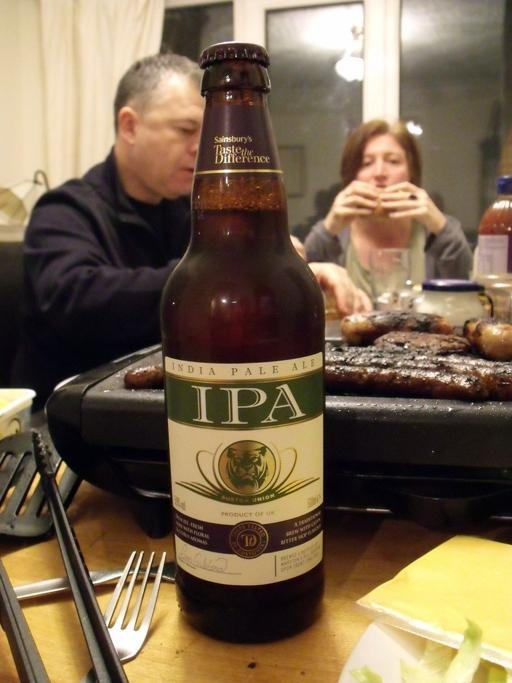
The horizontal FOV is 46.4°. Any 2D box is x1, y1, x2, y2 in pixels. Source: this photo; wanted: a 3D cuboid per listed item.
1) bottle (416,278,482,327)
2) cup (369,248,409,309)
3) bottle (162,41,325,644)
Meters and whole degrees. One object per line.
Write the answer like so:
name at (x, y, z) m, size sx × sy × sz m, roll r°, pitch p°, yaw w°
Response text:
bottle at (0.266, -0.056, 0.806) m, size 0.077 × 0.071 × 0.072 m, roll -3°, pitch 6°, yaw -21°
cup at (0.286, -0.135, 1.287) m, size 0.083 × 0.125 × 0.105 m, roll 1°, pitch 9°, yaw 13°
bottle at (-0.007, 0.007, 0.383) m, size 0.107 × 0.380 × 0.070 m, roll -2°, pitch 9°, yaw -8°
